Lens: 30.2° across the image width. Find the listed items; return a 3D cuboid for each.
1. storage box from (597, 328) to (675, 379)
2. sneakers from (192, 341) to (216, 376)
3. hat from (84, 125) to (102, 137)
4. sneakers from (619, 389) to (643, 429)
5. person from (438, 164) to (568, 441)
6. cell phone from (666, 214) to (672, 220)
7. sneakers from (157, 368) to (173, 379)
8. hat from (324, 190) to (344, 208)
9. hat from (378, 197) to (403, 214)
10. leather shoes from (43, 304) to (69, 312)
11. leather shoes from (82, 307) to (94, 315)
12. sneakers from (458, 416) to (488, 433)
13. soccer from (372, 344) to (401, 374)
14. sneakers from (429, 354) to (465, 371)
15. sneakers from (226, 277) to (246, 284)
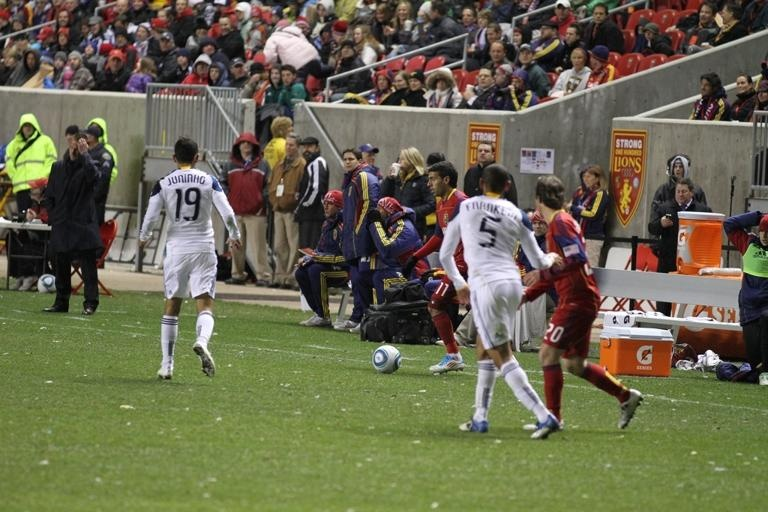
[{"bbox_3d":[3.791,1.434,21.422,0.979,0.718,0.743,4,-1,-16],"label":"storage box"},{"bbox_3d":[-2.372,1.375,18.745,0.202,0.577,0.239,-21,8,-2],"label":"sneakers"},{"bbox_3d":[-4.931,-2.118,24.055,0.234,0.189,0.186,12,5,-11],"label":"hat"},{"bbox_3d":[3.120,1.924,17.860,0.279,0.606,0.216,16,28,4],"label":"sneakers"},{"bbox_3d":[1.401,0.532,17.635,1.480,3.165,0.590,2,1,8],"label":"person"},{"bbox_3d":[4.718,-0.654,23.612,0.098,0.083,0.137,2,1,20],"label":"cell phone"},{"bbox_3d":[-2.952,1.579,19.079,0.186,0.132,0.274,2,1,-14],"label":"sneakers"},{"bbox_3d":[-0.817,-0.962,23.738,0.225,0.250,0.311,10,20,41],"label":"hat"},{"bbox_3d":[0.077,-0.819,22.902,0.329,0.263,0.244,-5,9,1],"label":"hat"},{"bbox_3d":[-5.398,0.870,23.316,0.425,0.182,0.146,5,-1,-1],"label":"leather shoes"},{"bbox_3d":[-4.811,0.903,23.161,0.090,0.082,0.162,6,9,15],"label":"leather shoes"},{"bbox_3d":[1.095,2.082,17.562,0.320,0.154,0.160,4,2,31],"label":"sneakers"},{"bbox_3d":[0.029,1.472,20.120,0.375,0.369,0.230,2,1,-7],"label":"soccer"},{"bbox_3d":[0.900,1.550,20.329,0.543,0.306,0.206,-8,-1,-9],"label":"sneakers"},{"bbox_3d":[-2.925,0.478,27.864,0.373,0.171,0.148,10,1,-11],"label":"sneakers"}]
